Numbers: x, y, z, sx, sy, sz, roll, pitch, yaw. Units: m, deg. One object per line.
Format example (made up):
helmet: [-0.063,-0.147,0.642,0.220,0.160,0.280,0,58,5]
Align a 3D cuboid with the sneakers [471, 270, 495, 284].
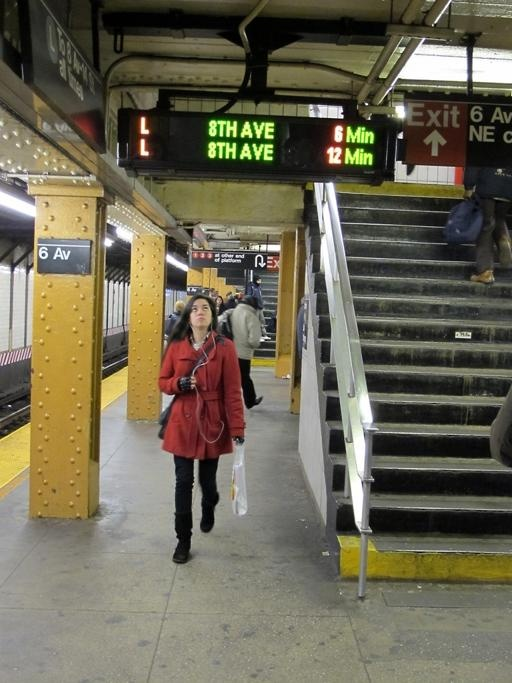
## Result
sneakers: [2.258,-0.643,5.917,0.096,0.172,0.248,-1,13,-4]

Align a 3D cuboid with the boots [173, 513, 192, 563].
boots: [-0.485,1.272,3.914,0.116,0.314,0.225,1,2,-8]

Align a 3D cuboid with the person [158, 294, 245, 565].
person: [-0.375,0.556,4.021,0.553,1.743,0.410,1,2,-11]

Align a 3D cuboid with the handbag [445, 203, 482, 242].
handbag: [2.093,-1.191,5.978,0.232,0.434,0.427,5,-1,-3]

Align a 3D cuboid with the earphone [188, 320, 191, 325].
earphone: [-0.459,-0.137,4.111,0.015,0.012,0.022,12,-21,4]
